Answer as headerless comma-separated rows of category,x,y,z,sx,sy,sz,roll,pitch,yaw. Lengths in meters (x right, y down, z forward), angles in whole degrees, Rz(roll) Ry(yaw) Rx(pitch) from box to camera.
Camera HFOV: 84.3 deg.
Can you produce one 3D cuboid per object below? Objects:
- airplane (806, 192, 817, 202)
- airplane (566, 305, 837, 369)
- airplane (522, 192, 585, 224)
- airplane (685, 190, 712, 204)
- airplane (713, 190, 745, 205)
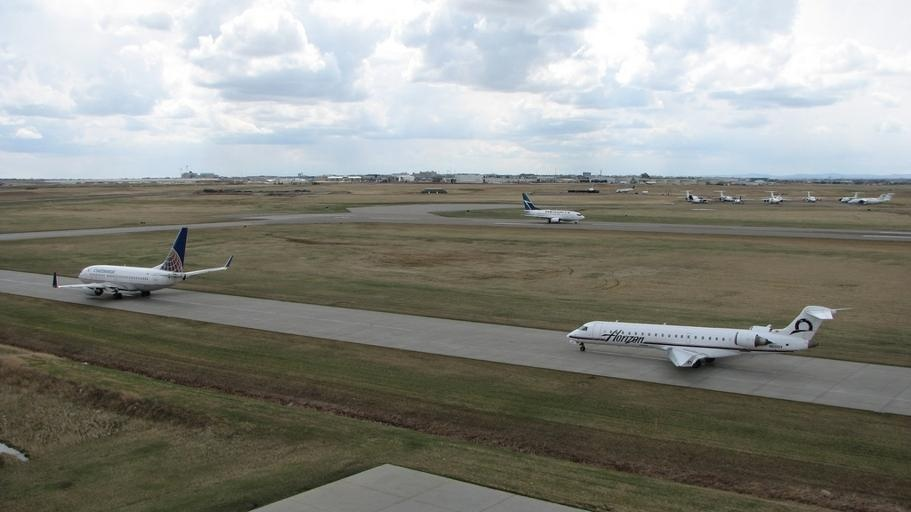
airplane,182.745,-30.478,259.765,4.268,5.615,107.952,6,8,34
airplane,24.257,8.568,51.308,16.608,2.341,13.068,2,2,29
airplane,28.874,-14.021,152.699,10.987,8.259,16.602,-3,8,-16
airplane,126.926,-30.980,264.950,9.800,7.108,117.169,3,7,24
airplane,143.595,-30.765,264.683,8.361,6.714,119.305,3,7,27
